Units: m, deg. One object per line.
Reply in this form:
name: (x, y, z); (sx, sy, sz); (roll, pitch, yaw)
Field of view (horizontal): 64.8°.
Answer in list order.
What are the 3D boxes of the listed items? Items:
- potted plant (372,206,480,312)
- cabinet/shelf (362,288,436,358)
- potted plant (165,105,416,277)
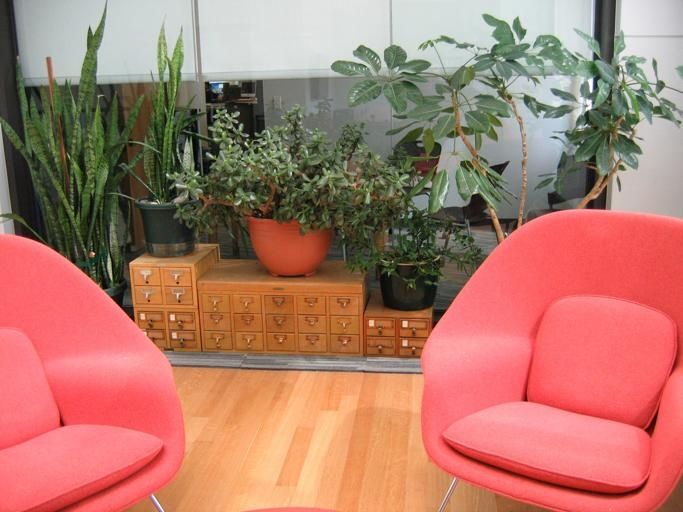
potted plant: (0.480, 0.024, 3.256); (0.767, 0.640, 0.495); (2, -7, -16)
cabinet/shelf: (0.341, 0.407, 3.293); (0.472, 0.265, 0.502); (6, 18, 20)
potted plant: (-0.279, -0.314, 2.983); (1.298, 0.943, 0.417); (2, 15, 7)
